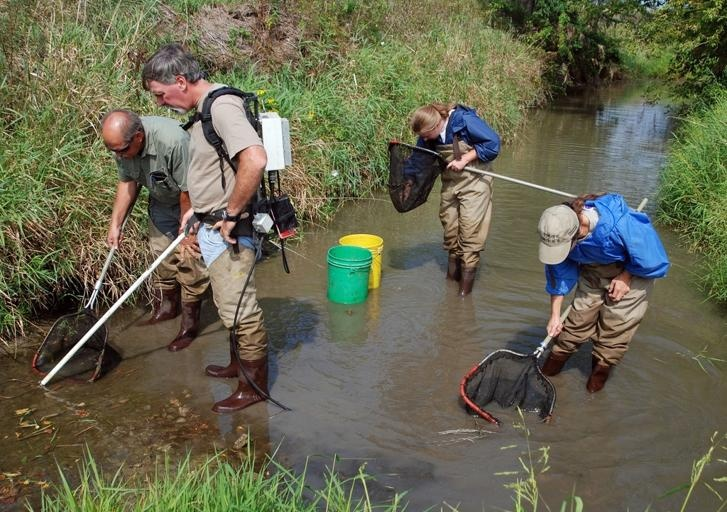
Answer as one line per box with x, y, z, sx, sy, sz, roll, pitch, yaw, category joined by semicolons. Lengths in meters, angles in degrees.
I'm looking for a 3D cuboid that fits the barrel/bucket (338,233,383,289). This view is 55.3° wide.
-0.033;0.009;8.382;0.632;0.551;0.613;1;22;-1;barrel/bucket

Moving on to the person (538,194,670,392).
2.187;0.395;6.424;0.984;1.921;0.442;5;19;3;person

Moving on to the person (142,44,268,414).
-1.282;-0.196;6.187;1.142;3.178;0.551;17;22;33;person

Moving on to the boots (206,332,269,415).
-1.083;1.038;6.575;0.760;0.800;0.354;-6;35;-16;boots

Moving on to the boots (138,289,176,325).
-2.233;0.559;7.481;0.205;0.389;0.565;9;7;33;boots

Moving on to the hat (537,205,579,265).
1.707;-0.152;6.059;0.340;0.535;0.279;-7;21;-30;hat
